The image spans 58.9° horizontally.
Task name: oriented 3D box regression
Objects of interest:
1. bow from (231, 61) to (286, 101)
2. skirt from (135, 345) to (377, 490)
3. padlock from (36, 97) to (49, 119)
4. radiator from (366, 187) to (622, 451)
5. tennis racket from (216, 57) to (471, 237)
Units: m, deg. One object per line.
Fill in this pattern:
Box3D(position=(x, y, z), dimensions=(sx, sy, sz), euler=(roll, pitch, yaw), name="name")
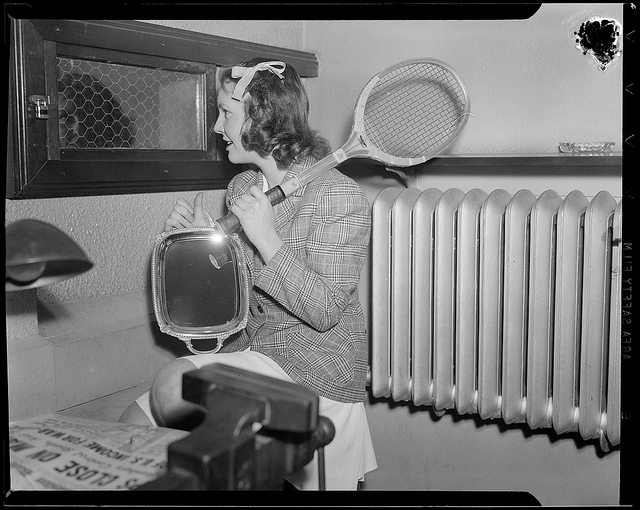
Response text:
Box3D(position=(-0.135, -0.401, 1.295), dimensions=(0.131, 0.082, 0.028), euler=(5, -2, -27), name="bow")
Box3D(position=(-0.089, 0.337, 1.139), dimensions=(0.384, 0.216, 0.428), euler=(3, -2, 29), name="skirt")
Box3D(position=(-0.612, -0.328, 1.261), dimensions=(0.027, 0.050, 0.014), euler=(5, -2, -32), name="padlock")
Box3D(position=(0.460, 0.144, 1.450), dimensions=(0.645, 0.640, 0.129), euler=(4, 6, 31), name="radiator")
Box3D(position=(0.097, -0.231, 1.395), dimensions=(0.541, 0.482, 0.423), euler=(9, 13, 23), name="tennis racket")
